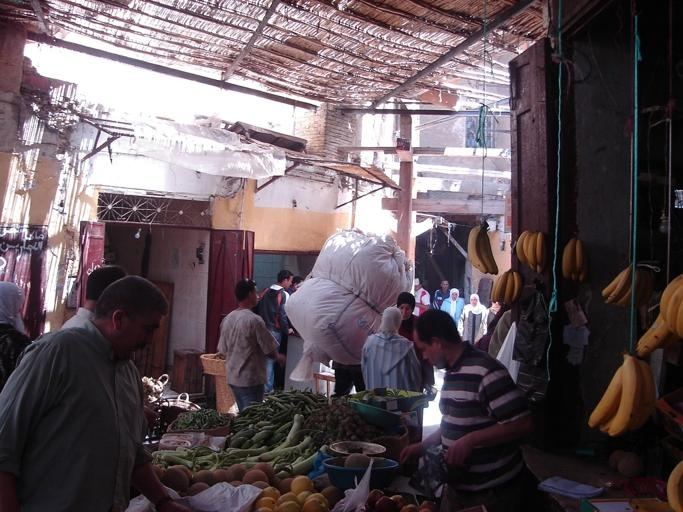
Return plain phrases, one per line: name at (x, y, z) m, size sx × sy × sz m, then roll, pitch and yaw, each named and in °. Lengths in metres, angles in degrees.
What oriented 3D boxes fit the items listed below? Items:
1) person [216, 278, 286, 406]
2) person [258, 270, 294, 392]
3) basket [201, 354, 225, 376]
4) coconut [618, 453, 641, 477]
person at (-0.959, 0.967, 5.590) m, size 0.735 × 0.974 × 0.382 m, roll 1°, pitch -1°, yaw 34°
person at (-0.964, 1.071, 7.505) m, size 0.495 × 1.618 × 0.544 m, roll 5°, pitch 7°, yaw -29°
basket at (-1.621, 1.417, 6.702) m, size 0.289 × 0.142 × 0.375 m, roll 7°, pitch -7°, yaw -41°
coconut at (1.759, 1.272, 3.251) m, size 0.114 × 0.146 × 0.124 m, roll 2°, pitch -17°, yaw 23°
